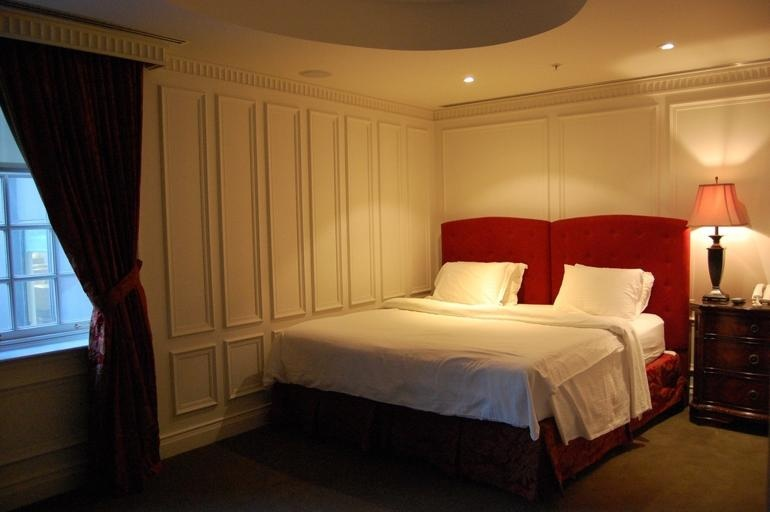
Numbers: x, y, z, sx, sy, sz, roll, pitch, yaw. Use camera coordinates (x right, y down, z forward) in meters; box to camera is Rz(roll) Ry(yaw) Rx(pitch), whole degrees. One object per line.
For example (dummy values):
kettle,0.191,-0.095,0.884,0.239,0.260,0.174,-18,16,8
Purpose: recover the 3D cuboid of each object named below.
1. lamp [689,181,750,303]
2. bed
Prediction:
lamp,3.176,-0.169,5.267,0.527,1.114,0.434,-12,15,-41
bed,1.147,0.654,5.220,3.200,1.825,2.489,-13,16,-43
